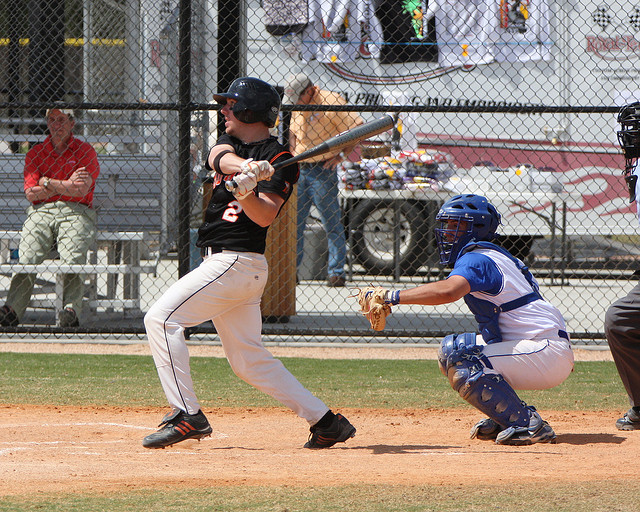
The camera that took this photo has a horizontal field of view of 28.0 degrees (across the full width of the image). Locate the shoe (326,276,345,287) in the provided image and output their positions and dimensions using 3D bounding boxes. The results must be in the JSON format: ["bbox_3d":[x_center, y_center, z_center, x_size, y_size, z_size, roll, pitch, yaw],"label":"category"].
[{"bbox_3d":[0.171,0.275,13.236,0.162,0.084,0.143,-4,1,8],"label":"shoe"}]

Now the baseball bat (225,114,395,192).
[{"bbox_3d":[-0.035,-0.740,8.946,1.213,0.168,0.174,-24,8,-12],"label":"baseball bat"}]

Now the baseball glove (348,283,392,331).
[{"bbox_3d":[0.353,0.357,8.704,0.325,0.280,0.244,0,7,1],"label":"baseball glove"}]

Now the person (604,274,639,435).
[{"bbox_3d":[2.142,0.744,9.006,0.240,1.035,0.334,2,14,3],"label":"person"}]

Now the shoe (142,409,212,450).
[{"bbox_3d":[-0.949,1.202,8.625,0.362,0.194,0.609,-10,4,-19],"label":"shoe"}]

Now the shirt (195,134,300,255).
[{"bbox_3d":[-0.538,-0.379,8.776,0.568,0.941,0.801,11,-3,-44],"label":"shirt"}]

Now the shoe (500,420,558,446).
[{"bbox_3d":[1.462,1.250,8.797,0.429,0.182,0.145,1,-5,-8],"label":"shoe"}]

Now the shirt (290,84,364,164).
[{"bbox_3d":[0.045,-1.339,12.887,0.763,0.992,0.735,14,18,43],"label":"shirt"}]

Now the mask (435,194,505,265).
[{"bbox_3d":[0.977,-0.197,8.929,0.510,0.438,0.399,3,-5,-9],"label":"mask"}]

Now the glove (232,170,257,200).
[{"bbox_3d":[-0.481,-0.456,8.321,0.158,0.201,0.092,0,14,-4],"label":"glove"}]

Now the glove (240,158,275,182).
[{"bbox_3d":[-0.403,-0.563,8.363,0.189,0.082,0.140,13,3,36],"label":"glove"}]

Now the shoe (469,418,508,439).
[{"bbox_3d":[1.164,1.207,8.858,0.207,0.090,0.129,-7,18,10],"label":"shoe"}]

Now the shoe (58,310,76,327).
[{"bbox_3d":[-2.201,0.565,11.186,0.165,0.146,0.116,4,-9,-19],"label":"shoe"}]

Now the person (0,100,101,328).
[{"bbox_3d":[-2.365,-0.374,11.330,0.814,2.018,0.853,0,14,-4],"label":"person"}]

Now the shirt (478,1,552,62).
[{"bbox_3d":[2.048,-2.393,13.389,0.914,0.895,0.076,-1,-1,-11],"label":"shirt"}]

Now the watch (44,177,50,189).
[{"bbox_3d":[-2.399,-0.644,11.260,0.062,0.057,0.015,-10,-14,41],"label":"watch"}]
